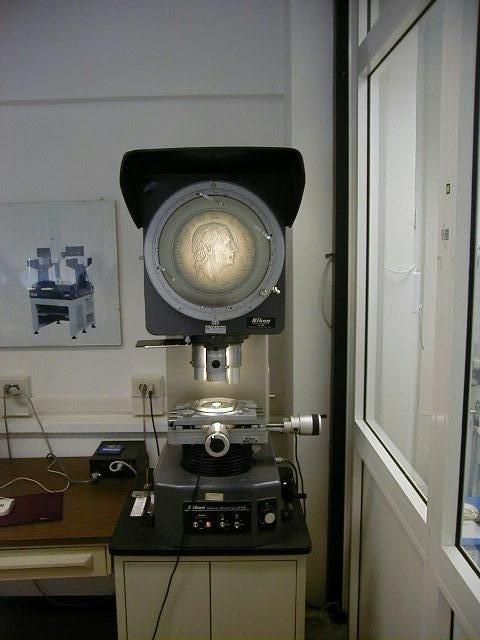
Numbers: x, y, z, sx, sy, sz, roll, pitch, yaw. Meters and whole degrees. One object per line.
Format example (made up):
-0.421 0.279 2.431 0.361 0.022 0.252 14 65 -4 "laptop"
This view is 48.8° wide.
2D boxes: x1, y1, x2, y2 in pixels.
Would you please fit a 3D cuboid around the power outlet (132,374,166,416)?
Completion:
-0.394 0.301 2.221 0.124 0.185 0.089 0 24 -9 "power outlet"
